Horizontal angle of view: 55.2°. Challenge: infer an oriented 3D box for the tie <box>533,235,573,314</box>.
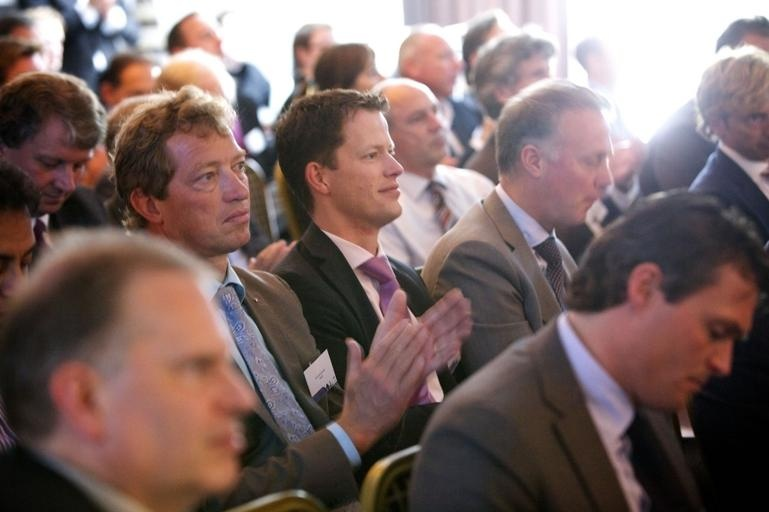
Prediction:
[{"bbox_3d":[0.731,0.076,3.162,0.226,0.302,0.085,-2,-8,-45],"label":"tie"}]
